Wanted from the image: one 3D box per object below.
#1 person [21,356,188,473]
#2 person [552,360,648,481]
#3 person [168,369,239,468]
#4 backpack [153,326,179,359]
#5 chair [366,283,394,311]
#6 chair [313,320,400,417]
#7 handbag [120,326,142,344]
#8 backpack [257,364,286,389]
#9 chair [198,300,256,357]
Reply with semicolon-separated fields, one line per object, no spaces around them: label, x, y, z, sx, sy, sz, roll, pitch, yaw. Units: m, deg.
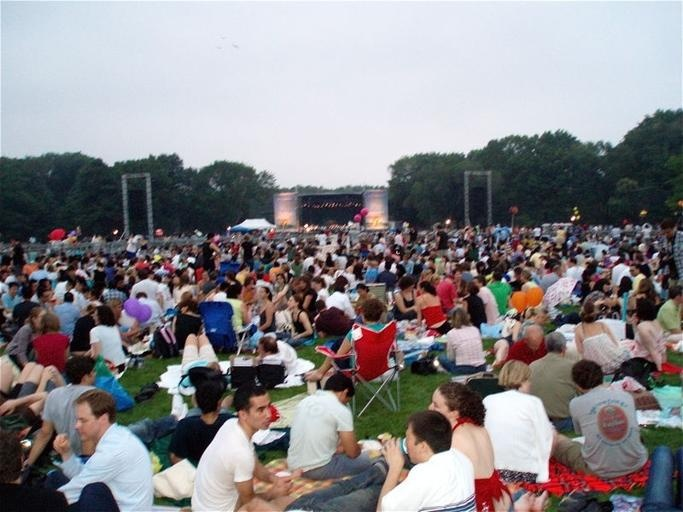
person;-2.688;1.571;5.173;0.473;0.937;1.509;7;16;23
person;2.563;1.658;4.953;0.757;0.649;1.096;-4;-4;7
person;-1.544;1.847;5.811;0.715;1.036;1.571;5;5;-11
backpack;-3.408;1.710;9.447;0.364;0.756;0.540;-13;-7;40
chair;1.030;1.035;12.655;0.546;0.701;0.764;0;-4;3
chair;0.452;1.588;6.640;1.090;1.071;0.849;2;-17;-13
handbag;-4.377;1.664;10.020;0.387;0.348;0.871;0;-4;-21
backpack;-1.128;1.894;7.655;0.524;0.413;0.324;2;-11;-11
chair;-2.507;1.378;9.663;0.659;1.034;0.577;5;-22;-26
